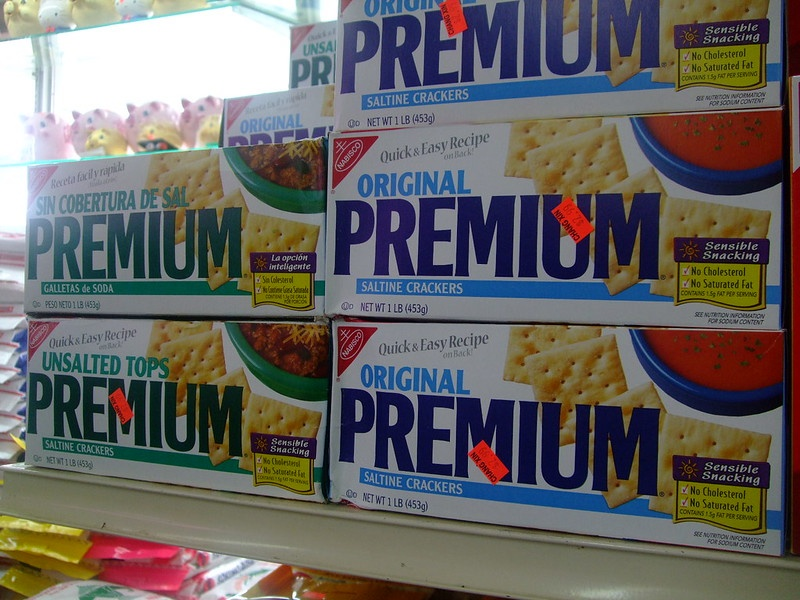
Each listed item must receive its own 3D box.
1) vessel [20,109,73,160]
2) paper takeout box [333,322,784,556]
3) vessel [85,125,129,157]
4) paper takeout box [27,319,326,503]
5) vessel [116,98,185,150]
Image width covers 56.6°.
[{"bbox_3d":[-1.009,-0.484,2.127,0.111,0.121,0.151,6,26,11],"label":"vessel"},{"bbox_3d":[0.338,0.375,1.708,0.972,0.454,0.567,2,-30,15],"label":"paper takeout box"},{"bbox_3d":[-0.779,-0.404,1.985,0.092,0.072,0.092,-11,1,15],"label":"vessel"},{"bbox_3d":[-0.472,0.237,1.853,0.770,0.375,0.435,1,-5,13],"label":"paper takeout box"},{"bbox_3d":[-0.662,-0.470,1.987,0.135,0.137,0.166,-15,15,-9],"label":"vessel"}]
